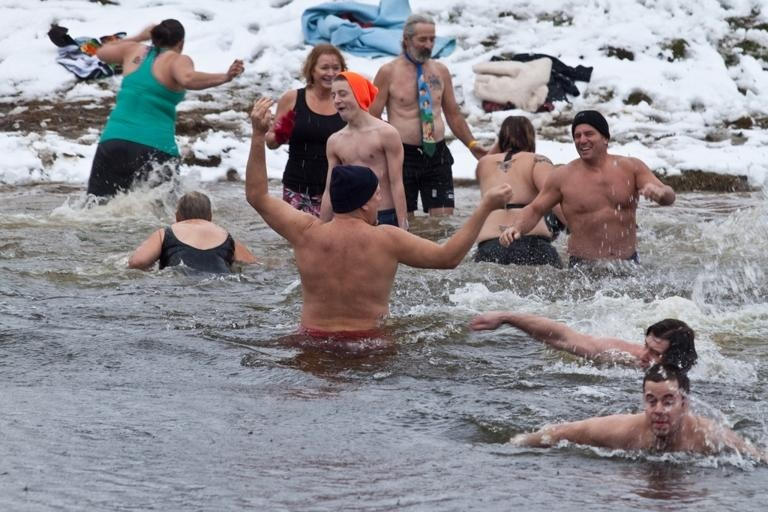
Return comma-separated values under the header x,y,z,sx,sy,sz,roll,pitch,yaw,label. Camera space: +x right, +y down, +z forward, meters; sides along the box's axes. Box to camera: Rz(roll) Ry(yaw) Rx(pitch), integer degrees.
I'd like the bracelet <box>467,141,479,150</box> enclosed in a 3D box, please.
x,y,z,sx,sy,sz,roll,pitch,yaw,label
1.042,-1.250,13.462,0.121,0.067,0.111,-7,19,6,bracelet

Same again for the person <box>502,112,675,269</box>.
x,y,z,sx,sy,sz,roll,pitch,yaw,label
2.138,-0.669,12.059,1.176,1.603,0.361,5,7,5,person

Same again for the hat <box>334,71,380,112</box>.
x,y,z,sx,sy,sz,roll,pitch,yaw,label
-0.258,-1.634,11.578,0.455,0.298,0.338,3,3,-27,hat

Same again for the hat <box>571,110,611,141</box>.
x,y,z,sx,sy,sz,roll,pitch,yaw,label
2.150,-1.343,12.021,0.372,0.275,0.274,5,7,4,hat

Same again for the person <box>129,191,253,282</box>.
x,y,z,sx,sy,sz,roll,pitch,yaw,label
-1.944,-0.191,12.097,1.371,0.818,0.762,-2,2,-21,person

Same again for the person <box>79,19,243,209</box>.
x,y,z,sx,sy,sz,roll,pitch,yaw,label
-2.712,-1.666,13.417,1.543,2.072,0.448,6,7,12,person
